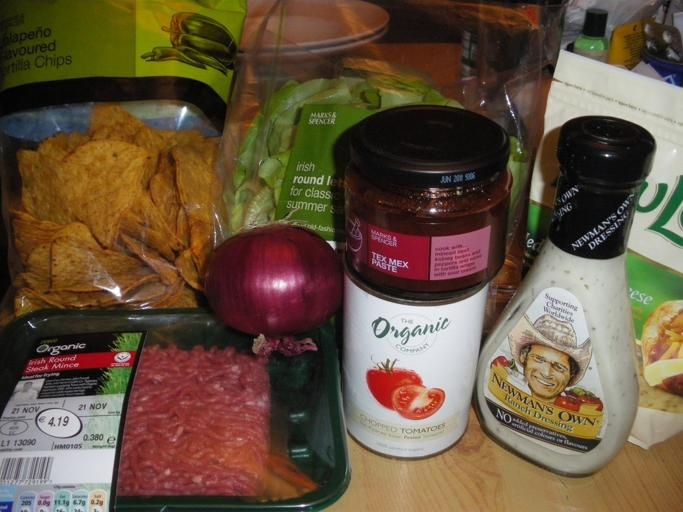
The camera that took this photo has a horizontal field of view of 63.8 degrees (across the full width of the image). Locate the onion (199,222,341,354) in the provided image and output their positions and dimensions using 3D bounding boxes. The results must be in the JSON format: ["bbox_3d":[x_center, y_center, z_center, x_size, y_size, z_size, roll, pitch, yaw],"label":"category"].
[{"bbox_3d":[-0.083,0.029,0.683,0.166,0.119,0.098,-3,42,-2],"label":"onion"}]

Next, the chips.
[{"bbox_3d":[-0.302,-0.019,0.758,0.238,0.301,0.173,-18,41,-24],"label":"chips"}]
